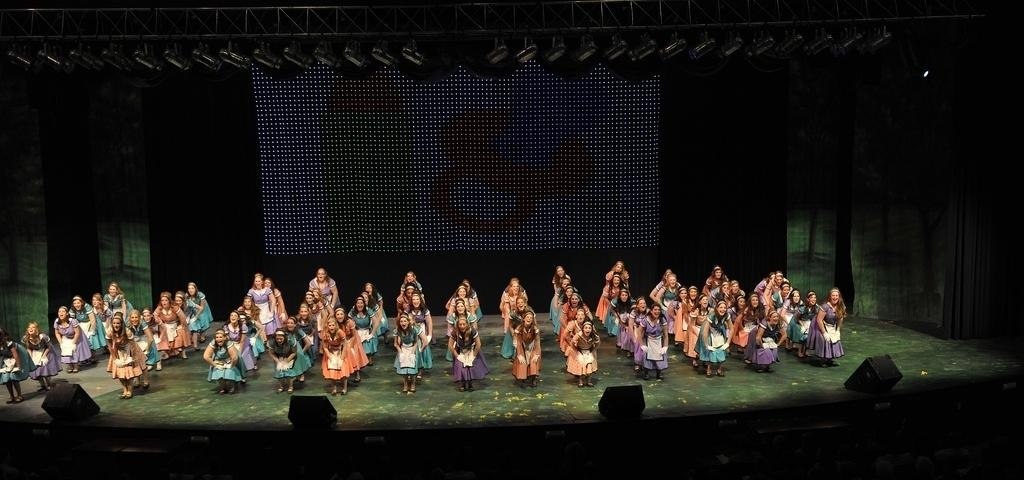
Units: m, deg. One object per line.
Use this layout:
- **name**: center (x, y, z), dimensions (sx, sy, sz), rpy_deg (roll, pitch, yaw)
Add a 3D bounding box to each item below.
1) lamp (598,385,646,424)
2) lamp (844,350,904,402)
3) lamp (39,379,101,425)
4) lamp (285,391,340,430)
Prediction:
- **lamp**: center (2.555, 3.716, 17.560), dimensions (0.921, 0.662, 0.715), rpy_deg (1, 2, -19)
- **lamp**: center (8.782, 3.186, 18.293), dimensions (0.961, 0.744, 0.902), rpy_deg (1, -10, -40)
- **lamp**: center (-10.499, 3.665, 17.733), dimensions (1.031, 0.594, 0.999), rpy_deg (-2, -8, 31)
- **lamp**: center (-4.505, 3.905, 17.458), dimensions (1.127, 0.855, 0.928), rpy_deg (-1, 18, 32)
